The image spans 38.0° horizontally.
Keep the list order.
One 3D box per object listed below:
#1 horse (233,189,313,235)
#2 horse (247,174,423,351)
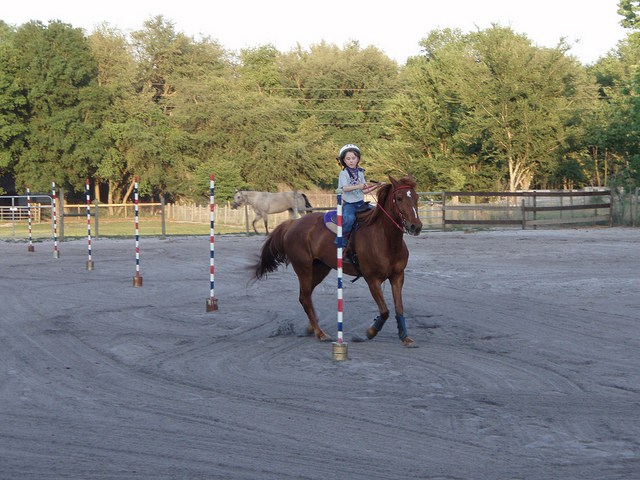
[{"bbox_3d":[-2.155,-1.206,38.940,3.772,1.736,2.730,2,13,13],"label":"horse"},{"bbox_3d":[0.372,0.412,18.452,1.443,3.037,6.006,1,0,-34],"label":"horse"}]
